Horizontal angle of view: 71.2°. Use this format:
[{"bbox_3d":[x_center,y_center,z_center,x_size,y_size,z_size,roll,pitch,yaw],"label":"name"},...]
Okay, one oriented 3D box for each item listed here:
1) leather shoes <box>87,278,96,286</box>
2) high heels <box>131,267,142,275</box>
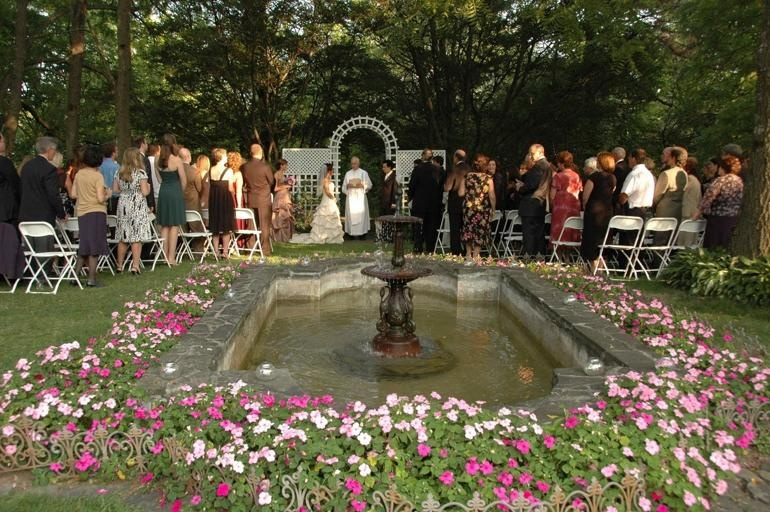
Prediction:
[{"bbox_3d":[-4.921,0.420,8.907,0.072,0.094,0.198,1,16,-9],"label":"leather shoes"},{"bbox_3d":[-4.643,0.253,9.886,0.106,0.102,0.199,1,12,-5],"label":"high heels"}]
